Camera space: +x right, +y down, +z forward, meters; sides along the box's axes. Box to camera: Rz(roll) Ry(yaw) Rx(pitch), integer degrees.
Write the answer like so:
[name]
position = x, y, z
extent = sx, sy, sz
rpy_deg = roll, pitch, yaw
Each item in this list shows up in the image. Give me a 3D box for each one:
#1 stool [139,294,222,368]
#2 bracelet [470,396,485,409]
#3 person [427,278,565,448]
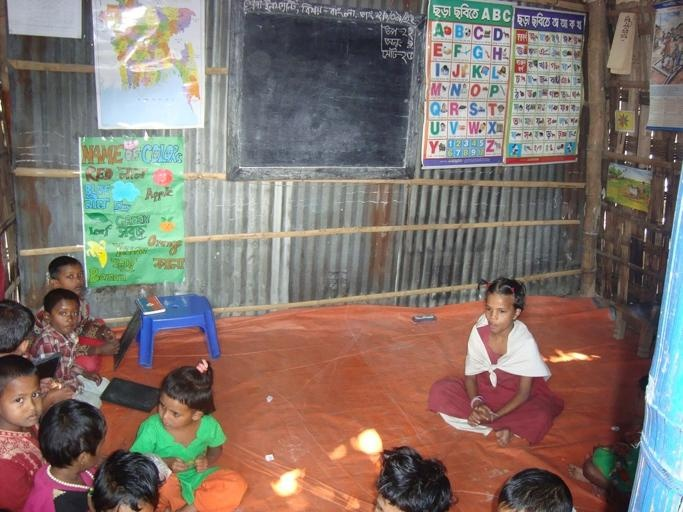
[stool]
position = -1.516, 0.586, 4.688
extent = 0.661, 0.403, 0.668
rpy_deg = -2, 11, -18
[bracelet]
position = 1.098, 1.157, 4.035
extent = 0.076, 0.077, 0.092
rpy_deg = -3, 2, -3
[person]
position = 1.208, 0.808, 4.075
extent = 1.006, 1.126, 0.894
rpy_deg = 2, 17, 26
